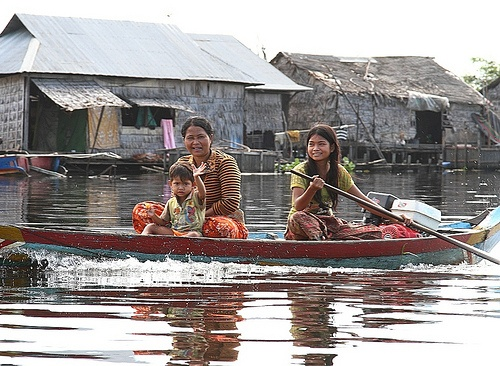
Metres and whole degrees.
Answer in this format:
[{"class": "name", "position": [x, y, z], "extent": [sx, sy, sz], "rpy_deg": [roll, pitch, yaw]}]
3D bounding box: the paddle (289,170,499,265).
[{"class": "paddle", "position": [1.760, 0.423, 11.835], "extent": [3.875, 0.199, 0.072], "rpy_deg": [17, -46, -2]}]
